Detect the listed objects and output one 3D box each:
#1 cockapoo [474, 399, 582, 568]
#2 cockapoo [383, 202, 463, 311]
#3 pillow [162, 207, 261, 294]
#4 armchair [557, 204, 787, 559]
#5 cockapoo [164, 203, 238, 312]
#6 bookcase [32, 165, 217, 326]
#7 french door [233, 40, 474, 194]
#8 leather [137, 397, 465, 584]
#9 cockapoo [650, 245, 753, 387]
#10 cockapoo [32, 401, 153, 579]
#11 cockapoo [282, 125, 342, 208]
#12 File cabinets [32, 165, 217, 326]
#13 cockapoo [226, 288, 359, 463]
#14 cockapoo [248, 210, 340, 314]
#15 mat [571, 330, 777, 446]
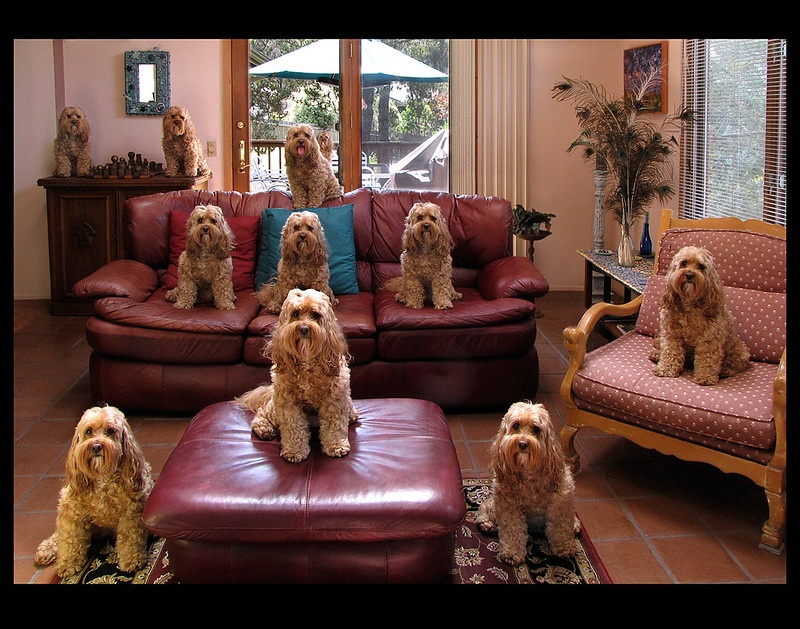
[{"bbox_3d":[0.524,0.643,2.421,0.336,0.637,0.228,-7,13,-31],"label":"cockapoo"},{"bbox_3d":[0.131,-0.391,3.910,0.372,0.648,0.662,-7,14,-25],"label":"cockapoo"},{"bbox_3d":[-1.165,-0.386,3.890,0.534,0.571,0.197,-1,-7,1],"label":"pillow"},{"bbox_3d":[1.441,0.185,3.019,1.169,1.373,1.150,-6,15,-31],"label":"armchair"},{"bbox_3d":[-1.208,-0.366,3.817,0.431,0.629,0.370,3,13,-4],"label":"cockapoo"},{"bbox_3d":[-2.017,-0.526,4.581,1.298,1.287,0.508,-1,8,-9],"label":"bookcase"},{"bbox_3d":[-0.369,-2.137,6.989,2.058,1.418,1.939,2,28,-1],"label":"french door"},{"bbox_3d":[-0.322,0.699,2.361,1.089,0.423,0.655,0,11,-1],"label":"leather"},{"bbox_3d":[1.370,-0.026,2.843,0.413,0.611,0.443,5,17,32],"label":"cockapoo"},{"bbox_3d":[-1.176,0.686,2.509,0.462,0.655,0.697,3,-3,-16],"label":"cockapoo"},{"bbox_3d":[-0.629,-1.076,4.426,0.312,0.613,0.597,8,26,13],"label":"cockapoo"},{"bbox_3d":[-2.017,-0.526,4.581,1.298,1.287,0.508,-1,8,-9],"label":"File cabinets"},{"bbox_3d":[-0.338,0.202,2.541,0.541,0.670,0.575,-1,11,-5],"label":"cockapoo"},{"bbox_3d":[-0.645,-0.340,3.758,0.548,0.598,0.402,8,17,27],"label":"cockapoo"},{"bbox_3d":[1.257,0.329,2.834,0.841,0.253,0.474,9,14,39],"label":"mat"}]
